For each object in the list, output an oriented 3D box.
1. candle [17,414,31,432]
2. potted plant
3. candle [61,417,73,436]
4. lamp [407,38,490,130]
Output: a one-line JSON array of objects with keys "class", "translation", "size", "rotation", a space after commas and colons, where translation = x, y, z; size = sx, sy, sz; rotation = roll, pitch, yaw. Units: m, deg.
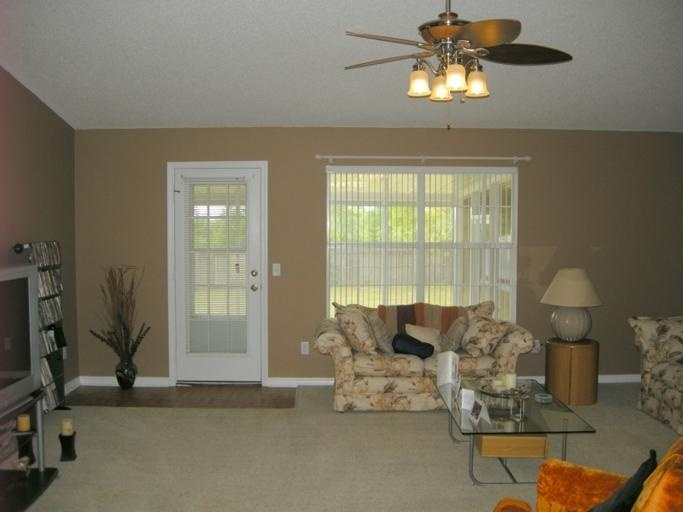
[{"class": "candle", "translation": [-2.489, 1.317, 4.574], "size": [0.111, 0.134, 0.114], "rotation": [-1, -5, 36]}, {"class": "potted plant", "translation": [-2.435, 0.798, 6.312], "size": [0.656, 1.314, 0.493], "rotation": [-3, 12, -15]}, {"class": "candle", "translation": [-2.301, 1.427, 4.810], "size": [0.127, 0.117, 0.079], "rotation": [5, 13, 21]}, {"class": "lamp", "translation": [0.752, -1.246, 3.988], "size": [0.563, 0.296, 0.572], "rotation": [0, -3, 4]}]
